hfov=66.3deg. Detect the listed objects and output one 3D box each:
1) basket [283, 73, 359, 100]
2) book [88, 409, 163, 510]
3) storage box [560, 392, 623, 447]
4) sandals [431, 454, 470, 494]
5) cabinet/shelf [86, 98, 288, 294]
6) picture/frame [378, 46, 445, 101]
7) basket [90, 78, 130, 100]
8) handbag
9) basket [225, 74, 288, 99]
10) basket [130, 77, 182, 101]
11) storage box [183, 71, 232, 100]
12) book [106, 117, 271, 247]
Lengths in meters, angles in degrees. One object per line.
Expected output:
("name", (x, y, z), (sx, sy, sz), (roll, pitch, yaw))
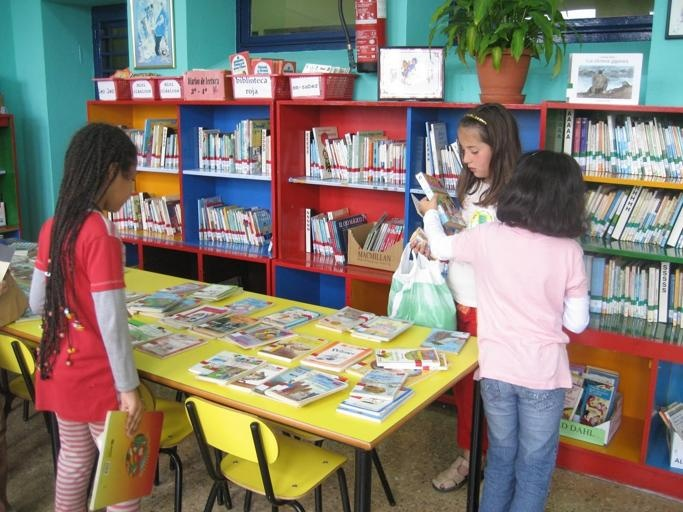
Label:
("basket", (-0.097, -1.166, 3.749), (0.253, 0.128, 0.367), (8, 11, 39))
("book", (-0.792, 0.736, 1.952), (0.033, 0.414, 0.313), (9, 17, 33))
("storage box", (1.466, 0.911, 3.029), (0.278, 0.098, 0.257), (4, 6, 42))
("sandals", (0.615, 1.168, 2.872), (0.258, 0.108, 0.111), (-10, 13, -43))
("cabinet/shelf", (-1.018, -0.436, 3.813), (1.586, 1.345, 0.403), (8, 17, 28))
("picture/frame", (0.462, -1.174, 3.344), (0.381, 0.271, 0.040), (3, 7, 22))
("basket", (-2.053, -1.498, 4.711), (0.434, 0.199, 0.142), (7, 16, 27))
("handbag", (0.407, 0.165, 2.701), (0.366, 0.461, 0.201), (6, 26, 38))
("basket", (-0.613, -1.240, 3.901), (0.342, 0.129, 0.231), (7, 11, 42))
("basket", (-1.542, -1.342, 4.386), (0.390, 0.137, 0.266), (7, 11, 42))
("storage box", (-1.043, -1.340, 4.121), (0.378, 0.216, 0.276), (6, 14, 25))
("book", (-1.123, -0.581, 4.122), (1.185, 0.720, 0.343), (6, 8, 26))
